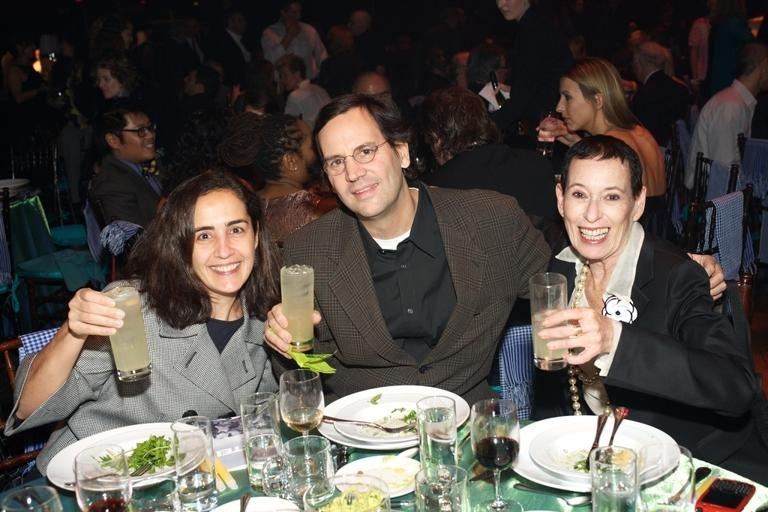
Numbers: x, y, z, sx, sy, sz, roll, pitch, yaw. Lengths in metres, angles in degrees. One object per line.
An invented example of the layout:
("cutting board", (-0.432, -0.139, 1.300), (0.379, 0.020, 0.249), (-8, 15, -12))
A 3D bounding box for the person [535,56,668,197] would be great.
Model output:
("person", (1.958, -1.444, 5.282), (1.548, 1.648, 0.966), (1, 25, 22))

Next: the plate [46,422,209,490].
("plate", (-0.935, 0.650, 1.800), (0.369, 0.048, 0.360), (-3, 8, -41))

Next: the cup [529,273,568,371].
("cup", (0.604, 0.238, 1.913), (0.126, 0.343, 0.167), (-3, 10, 20))

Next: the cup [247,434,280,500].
("cup", (-0.335, 0.653, 1.620), (0.117, 0.179, 0.183), (0, -4, 0))

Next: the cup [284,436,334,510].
("cup", (-0.232, 0.648, 1.599), (0.143, 0.188, 0.223), (-3, 0, 1))

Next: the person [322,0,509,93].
("person", (0.374, -2.909, 7.200), (2.007, 0.758, 1.483), (-5, 34, 0))
